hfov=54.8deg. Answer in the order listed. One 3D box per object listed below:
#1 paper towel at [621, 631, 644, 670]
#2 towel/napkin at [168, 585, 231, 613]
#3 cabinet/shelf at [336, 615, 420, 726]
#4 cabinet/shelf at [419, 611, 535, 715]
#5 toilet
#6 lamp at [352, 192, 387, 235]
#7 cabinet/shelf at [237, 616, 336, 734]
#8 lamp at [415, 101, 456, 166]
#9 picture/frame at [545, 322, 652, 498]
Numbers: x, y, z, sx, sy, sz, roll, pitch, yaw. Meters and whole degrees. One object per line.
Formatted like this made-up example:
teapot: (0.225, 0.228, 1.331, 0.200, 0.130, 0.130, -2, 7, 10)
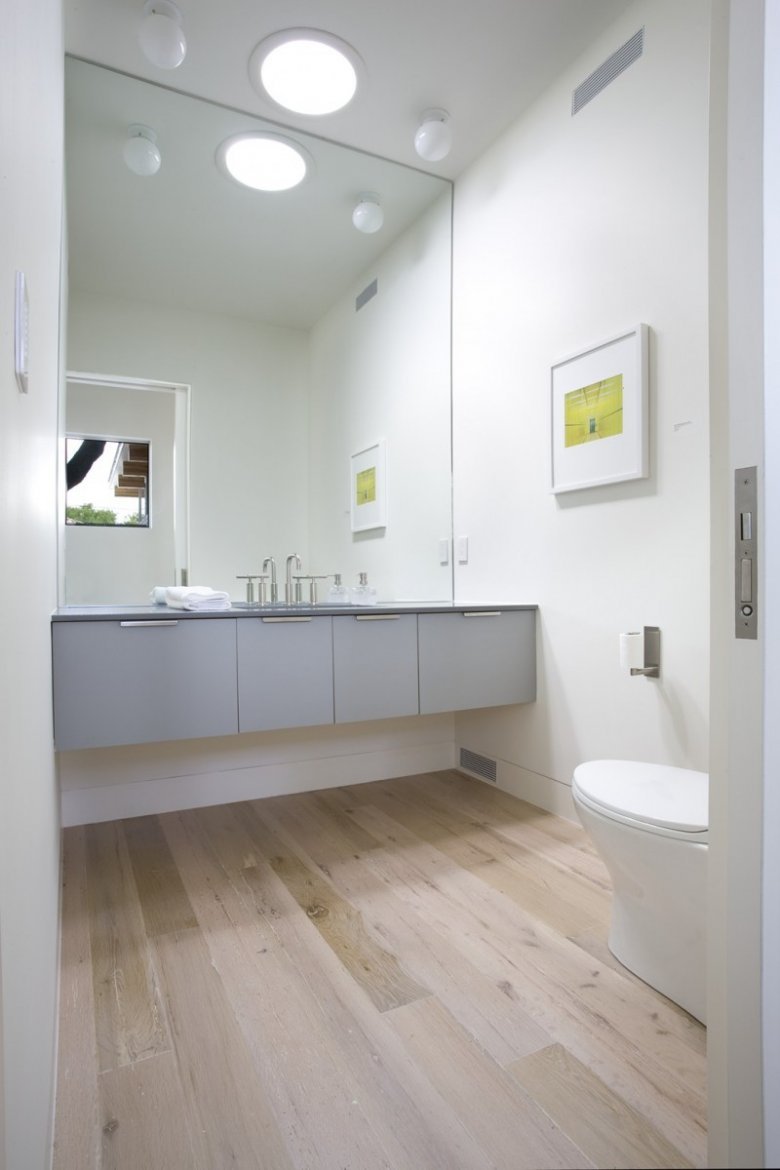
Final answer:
paper towel: (0.665, 0.180, 2.049, 0.085, 0.099, 0.037, 0, 0, -38)
towel/napkin: (-0.588, 0.044, 2.234, 0.194, 0.069, 0.115, -1, 0, 18)
cabinet/shelf: (-0.044, 0.258, 2.532, 0.335, 0.469, 0.270, 1, -3, -28)
cabinet/shelf: (0.294, 0.257, 2.562, 0.319, 0.403, 0.266, 1, 6, -21)
toilet: (0.514, 0.552, 1.457, 0.360, 0.386, 0.252, 9, 17, 40)
lamp: (-0.082, -1.403, 2.859, 0.035, 0.146, 0.131, 10, 7, 44)
cabinet/shelf: (-0.315, 0.217, 2.268, 0.304, 0.437, 0.277, 0, -1, -29)
lamp: (0.141, -1.523, 2.576, 0.143, 0.188, 0.164, -1, 4, -29)
picture/frame: (0.629, -0.516, 2.228, 0.045, 0.577, 0.482, 0, -6, -15)
